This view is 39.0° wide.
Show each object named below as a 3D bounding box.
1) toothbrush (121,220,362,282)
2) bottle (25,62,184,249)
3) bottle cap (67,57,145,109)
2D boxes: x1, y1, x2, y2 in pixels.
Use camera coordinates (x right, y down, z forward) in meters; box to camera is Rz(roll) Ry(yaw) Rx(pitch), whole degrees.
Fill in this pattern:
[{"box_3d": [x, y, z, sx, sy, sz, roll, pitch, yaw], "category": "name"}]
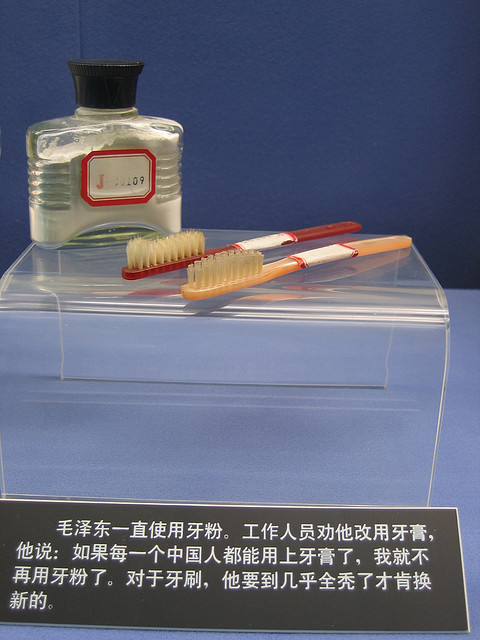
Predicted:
[{"box_3d": [0.012, -0.096, 0.752, 0.297, 0.040, 0.030, -15, 13, -23], "category": "toothbrush"}, {"box_3d": [-0.146, -0.157, 0.706, 0.166, 0.150, 0.188, 1, -33, -4], "category": "bottle"}, {"box_3d": [-0.135, -0.236, 0.677, 0.064, 0.082, 0.051, -13, -60, -38], "category": "bottle cap"}]
